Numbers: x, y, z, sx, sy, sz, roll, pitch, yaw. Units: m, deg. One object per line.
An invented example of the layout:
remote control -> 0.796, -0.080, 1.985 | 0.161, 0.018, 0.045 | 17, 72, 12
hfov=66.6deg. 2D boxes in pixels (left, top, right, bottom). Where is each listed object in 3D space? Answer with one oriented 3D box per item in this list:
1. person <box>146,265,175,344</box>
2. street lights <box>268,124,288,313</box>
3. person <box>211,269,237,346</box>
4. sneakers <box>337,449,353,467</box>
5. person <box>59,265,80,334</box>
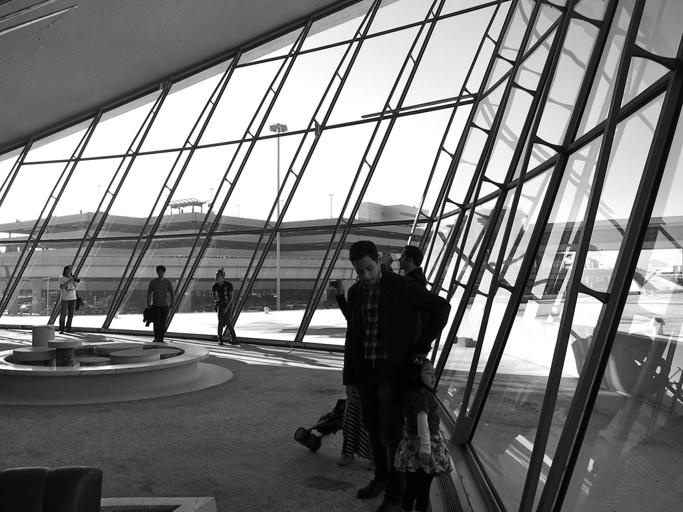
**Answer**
person -> -3.866, 1.020, 11.040 | 0.519, 1.600, 0.463 | 0, 0, -21
street lights -> -1.529, -1.017, 12.679 | 0.364, 4.617, 0.762 | 0, 0, -12
person -> -2.613, 1.163, 11.541 | 0.464, 1.662, 0.710 | 0, 0, -12
sneakers -> 0.028, 1.801, 4.578 | 0.058, 0.080, 0.181 | -5, -17, 19
person -> -7.117, 1.125, 13.532 | 0.435, 1.742, 0.705 | 0, 0, -30
